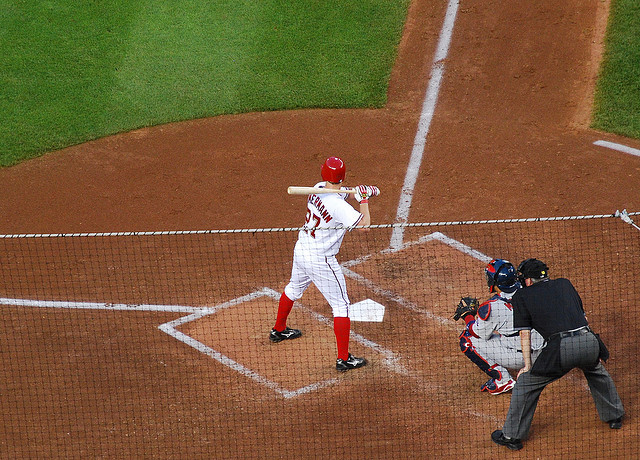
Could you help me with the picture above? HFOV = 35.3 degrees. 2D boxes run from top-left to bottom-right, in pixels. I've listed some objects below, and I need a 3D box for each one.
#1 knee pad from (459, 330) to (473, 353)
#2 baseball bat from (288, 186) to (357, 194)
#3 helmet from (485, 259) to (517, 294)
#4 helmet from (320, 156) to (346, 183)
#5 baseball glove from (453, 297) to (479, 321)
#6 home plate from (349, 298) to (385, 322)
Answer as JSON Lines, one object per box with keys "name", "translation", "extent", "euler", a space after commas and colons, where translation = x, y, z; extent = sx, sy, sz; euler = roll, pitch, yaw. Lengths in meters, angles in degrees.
{"name": "knee pad", "translation": [2.185, 1.711, 15.439], "extent": [0.129, 0.292, 0.222], "euler": [4, -5, -11]}
{"name": "baseball bat", "translation": [0.030, -0.588, 15.183], "extent": [1.185, 0.119, 0.130], "euler": [1, 17, -17]}
{"name": "helmet", "translation": [2.755, 0.712, 15.411], "extent": [0.501, 0.533, 0.595], "euler": [-7, 18, -11]}
{"name": "helmet", "translation": [0.205, -0.946, 15.491], "extent": [0.353, 0.313, 0.417], "euler": [2, 42, -9]}
{"name": "baseball glove", "translation": [2.277, 1.220, 15.848], "extent": [0.356, 0.140, 0.333], "euler": [15, 71, 42]}
{"name": "home plate", "translation": [0.751, 1.347, 16.693], "extent": [0.391, 0.010, 0.362], "euler": [7, 33, 14]}
